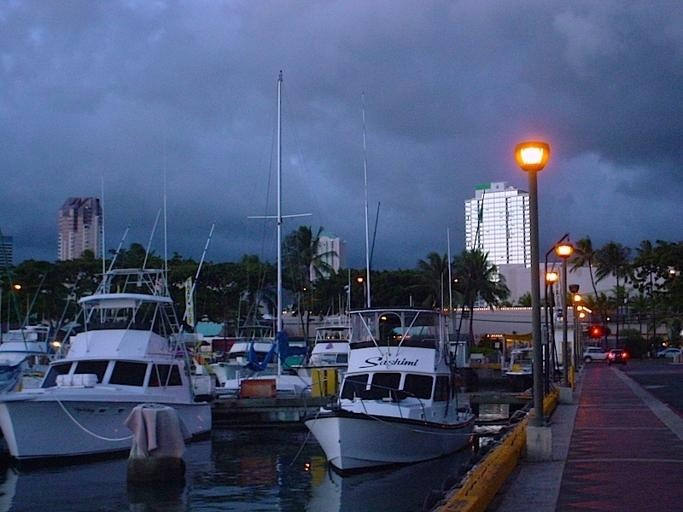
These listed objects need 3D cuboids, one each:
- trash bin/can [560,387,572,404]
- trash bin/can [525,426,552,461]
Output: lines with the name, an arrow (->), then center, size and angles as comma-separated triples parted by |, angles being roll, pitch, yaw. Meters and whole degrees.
trash bin/can -> 8.608, 5.343, 30.917 | 0.443, 0.683, 0.649 | -1, -3, 7
trash bin/can -> 4.846, 4.705, 20.145 | 0.652, 0.797, 0.700 | 4, -14, -17
